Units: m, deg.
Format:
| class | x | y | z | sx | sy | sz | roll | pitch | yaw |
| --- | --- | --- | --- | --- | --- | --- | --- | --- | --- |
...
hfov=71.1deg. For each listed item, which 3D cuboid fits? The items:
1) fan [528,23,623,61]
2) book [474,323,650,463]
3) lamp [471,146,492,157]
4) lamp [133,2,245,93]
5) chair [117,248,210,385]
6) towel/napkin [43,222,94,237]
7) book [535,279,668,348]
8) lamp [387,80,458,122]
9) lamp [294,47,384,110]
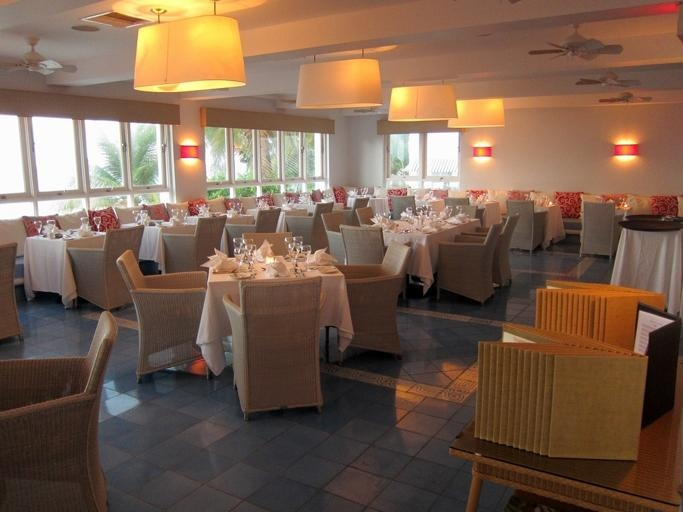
| class | x | y | z | sx | sy | sz | roll | pitch | yaw |
| --- | --- | --- | --- | --- | --- | --- | --- | --- | --- |
| fan | 2.572 | -2.283 | 5.127 | 0.643 | 0.277 | 0.724 | -1 | 13 | -4 |
| book | 0.659 | 0.427 | 1.597 | 0.505 | 0.211 | 0.430 | 5 | 8 | 5 |
| lamp | 3.650 | -2.662 | 12.462 | 0.622 | 0.301 | 0.302 | 3 | 10 | 22 |
| lamp | -0.952 | -1.274 | 2.943 | 0.655 | 0.437 | 0.309 | -5 | 16 | -16 |
| chair | -1.476 | 0.477 | 4.045 | 0.633 | 1.035 | 0.584 | -5 | 16 | -16 |
| towel/napkin | -3.614 | -0.341 | 6.305 | 0.628 | 0.162 | 0.670 | -3 | 13 | -14 |
| book | 1.096 | 0.251 | 2.051 | 0.435 | 0.156 | 0.326 | 1 | 4 | -7 |
| lamp | 1.054 | -1.896 | 5.986 | 0.892 | 0.344 | 0.429 | 7 | 16 | 23 |
| lamp | 0.009 | -1.629 | 4.789 | 1.132 | 0.392 | 0.511 | 0 | 0 | 8 |
